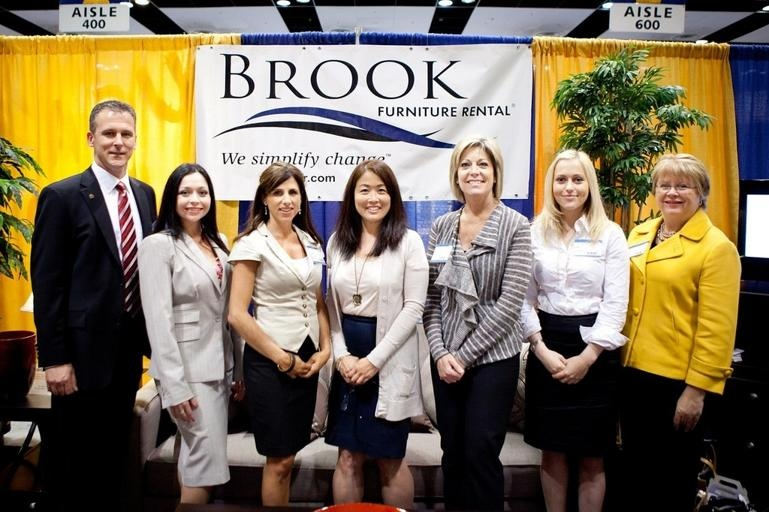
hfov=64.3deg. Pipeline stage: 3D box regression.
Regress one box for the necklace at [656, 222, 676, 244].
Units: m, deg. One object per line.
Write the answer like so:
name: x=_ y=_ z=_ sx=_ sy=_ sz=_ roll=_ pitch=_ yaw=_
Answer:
necklace: x=1.757 y=-0.135 z=3.858 sx=0.101 sy=0.117 sz=0.047 roll=0 pitch=5 yaw=32

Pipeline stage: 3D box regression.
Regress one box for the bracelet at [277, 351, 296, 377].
bracelet: x=-0.613 y=0.649 z=3.696 sx=0.036 sy=0.115 sz=0.117 roll=20 pitch=17 yaw=-27

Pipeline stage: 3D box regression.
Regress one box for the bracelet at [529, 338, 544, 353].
bracelet: x=0.939 y=0.570 z=3.861 sx=0.058 sy=0.089 sz=0.090 roll=-37 pitch=-12 yaw=-16

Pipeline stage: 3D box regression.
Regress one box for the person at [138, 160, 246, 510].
person: x=-1.176 y=0.476 z=3.754 sx=0.599 sy=2.070 sz=0.353 roll=-1 pitch=6 yaw=-21

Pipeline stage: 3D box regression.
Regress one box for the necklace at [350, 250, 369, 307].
necklace: x=-0.161 y=0.165 z=3.786 sx=0.086 sy=0.306 sz=0.063 roll=2 pitch=5 yaw=14

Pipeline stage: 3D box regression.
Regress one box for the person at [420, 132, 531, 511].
person: x=0.549 y=0.420 z=3.767 sx=0.641 sy=2.290 sz=0.432 roll=3 pitch=6 yaw=19
